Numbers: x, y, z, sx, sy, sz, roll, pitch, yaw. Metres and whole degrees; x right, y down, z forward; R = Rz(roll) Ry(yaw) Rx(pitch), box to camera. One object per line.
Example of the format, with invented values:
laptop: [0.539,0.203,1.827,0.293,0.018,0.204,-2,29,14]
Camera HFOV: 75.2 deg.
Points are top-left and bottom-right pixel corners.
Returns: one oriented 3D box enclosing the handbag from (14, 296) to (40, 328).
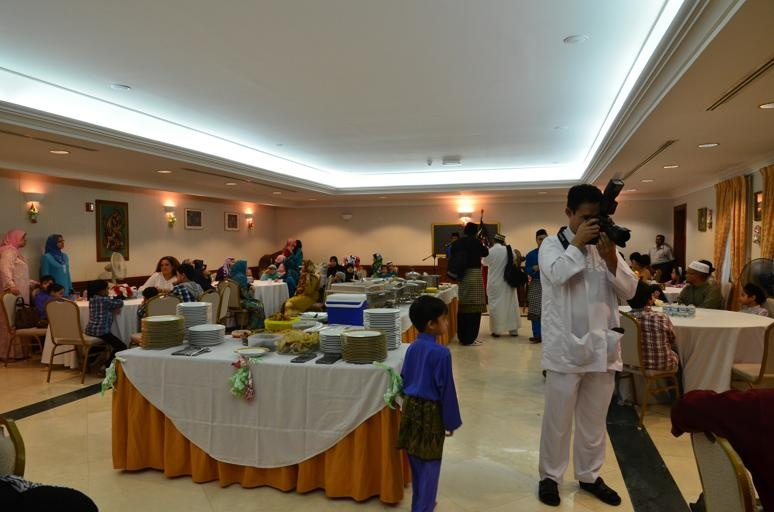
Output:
handbag: [-5.374,0.862,7.470,0.205,0.511,0.452,-3,-1,33]

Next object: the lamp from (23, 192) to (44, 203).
lamp: [-6.271,-1.031,8.924,0.139,0.193,0.311,-1,-3,25]

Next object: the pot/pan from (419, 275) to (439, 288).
pot/pan: [0.653,0.394,7.729,0.252,0.189,0.461,0,-3,2]

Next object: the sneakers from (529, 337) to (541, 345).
sneakers: [2.446,1.417,8.310,0.214,0.093,0.071,15,-17,-40]

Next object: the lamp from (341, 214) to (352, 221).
lamp: [-1.240,-1.178,15.368,0.281,0.200,0.200,0,-3,8]

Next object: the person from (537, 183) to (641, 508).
person: [1.542,0.714,3.948,0.707,2.533,0.564,-1,-3,17]

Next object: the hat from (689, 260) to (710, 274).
hat: [4.204,0.156,6.775,0.205,0.105,0.210,9,9,16]

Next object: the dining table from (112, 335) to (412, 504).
dining table: [-0.989,1.126,4.283,1.502,0.622,1.542,0,-3,11]

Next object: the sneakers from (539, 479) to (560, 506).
sneakers: [1.293,1.890,3.987,0.103,0.099,0.245,2,3,5]

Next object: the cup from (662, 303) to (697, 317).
cup: [3.403,0.637,5.835,0.167,0.109,0.274,3,-2,-24]

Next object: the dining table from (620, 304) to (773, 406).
dining table: [3.566,0.997,5.564,1.125,0.688,1.155,-4,-3,19]

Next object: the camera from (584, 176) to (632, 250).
camera: [1.691,-0.343,3.829,0.258,0.577,0.569,-1,-3,23]

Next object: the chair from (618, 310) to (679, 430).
chair: [2.791,1.191,5.491,0.781,1.097,0.790,-1,0,37]

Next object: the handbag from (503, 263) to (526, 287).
handbag: [2.127,0.338,8.415,0.152,0.418,0.321,-33,-7,-30]
